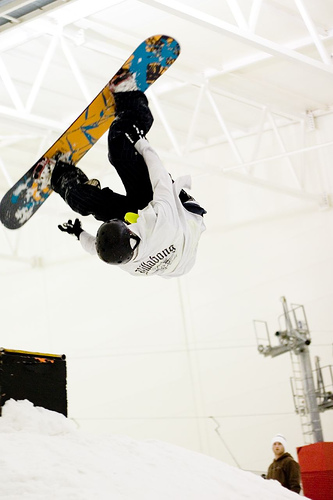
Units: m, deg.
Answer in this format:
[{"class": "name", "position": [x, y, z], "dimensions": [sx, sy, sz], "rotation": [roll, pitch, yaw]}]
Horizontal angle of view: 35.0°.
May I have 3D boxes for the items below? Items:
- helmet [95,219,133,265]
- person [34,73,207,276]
[{"class": "helmet", "position": [-0.229, -0.048, 2.756], "dimensions": [0.204, 0.221, 0.225], "rotation": [-2, 10, 4]}, {"class": "person", "position": [-0.260, -0.242, 3.115], "dimensions": [0.712, 0.625, 0.699], "rotation": [-17, -54, 21]}]
